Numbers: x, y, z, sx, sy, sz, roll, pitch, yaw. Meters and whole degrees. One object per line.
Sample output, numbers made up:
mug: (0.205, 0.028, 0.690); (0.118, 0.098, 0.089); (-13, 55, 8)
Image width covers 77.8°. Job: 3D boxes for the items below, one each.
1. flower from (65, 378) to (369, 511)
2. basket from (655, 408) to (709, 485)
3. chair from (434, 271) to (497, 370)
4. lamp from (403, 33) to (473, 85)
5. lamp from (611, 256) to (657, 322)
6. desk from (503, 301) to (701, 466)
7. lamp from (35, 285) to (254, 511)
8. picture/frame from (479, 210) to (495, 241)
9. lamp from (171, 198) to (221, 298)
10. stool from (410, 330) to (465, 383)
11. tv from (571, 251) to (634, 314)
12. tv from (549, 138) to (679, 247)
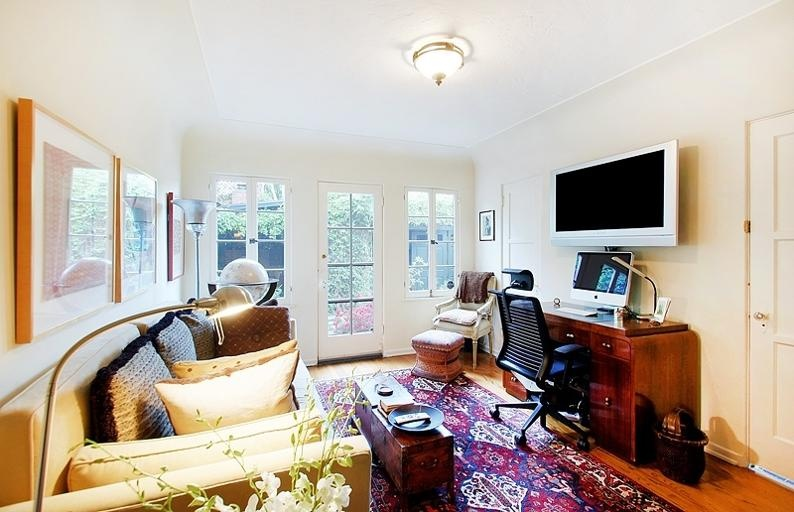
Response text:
flower: (-0.983, 1.156, 2.766); (1.093, 0.754, 0.980); (3, -6, -26)
basket: (2.204, 1.466, 3.823); (0.330, 0.496, 0.442); (0, -1, -28)
chair: (0.846, 0.731, 6.078); (0.800, 1.024, 0.813); (3, 9, 31)
lamp: (0.339, -1.585, 4.015); (0.540, 0.309, 0.388); (1, 3, 0)
lamp: (2.111, 0.291, 4.321); (0.429, 0.635, 0.214); (7, 27, 31)
desk: (1.856, 1.086, 4.750); (0.706, 1.061, 1.701); (-2, 3, -21)
lamp: (-1.352, 0.658, 2.432); (1.069, 0.979, 0.554); (1, 3, 8)
picture/frame: (1.173, -0.399, 6.342); (0.036, 0.490, 0.409); (1, 1, -19)
lamp: (-2.012, -0.051, 4.948); (0.399, 1.045, 1.003); (0, 3, -20)
stool: (0.476, 1.100, 5.574); (0.613, 0.432, 0.605); (2, 3, 9)
tv: (1.904, 0.241, 4.493); (0.203, 0.532, 0.540); (6, -6, -24)
tv: (1.971, -0.490, 4.593); (0.109, 0.873, 1.449); (-2, 1, -25)
